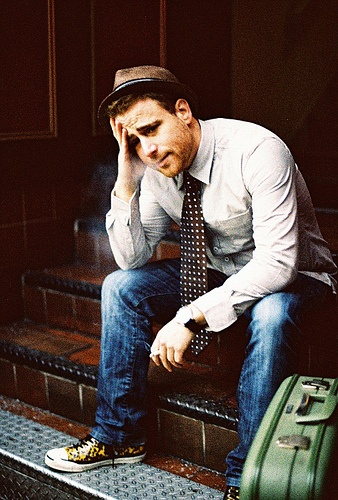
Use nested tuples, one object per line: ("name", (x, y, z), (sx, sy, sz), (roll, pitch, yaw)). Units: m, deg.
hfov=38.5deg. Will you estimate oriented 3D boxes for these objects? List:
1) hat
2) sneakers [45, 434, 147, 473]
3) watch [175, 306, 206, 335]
("hat", (-0.057, -0.493, 1.575), (0.255, 0.089, 0.205), (-8, -15, -25))
("sneakers", (-0.276, 0.744, 1.812), (0.355, 0.124, 0.124), (2, -3, -12))
("watch", (0.067, 0.213, 1.463), (0.065, 0.045, 0.070), (43, -4, -29))
